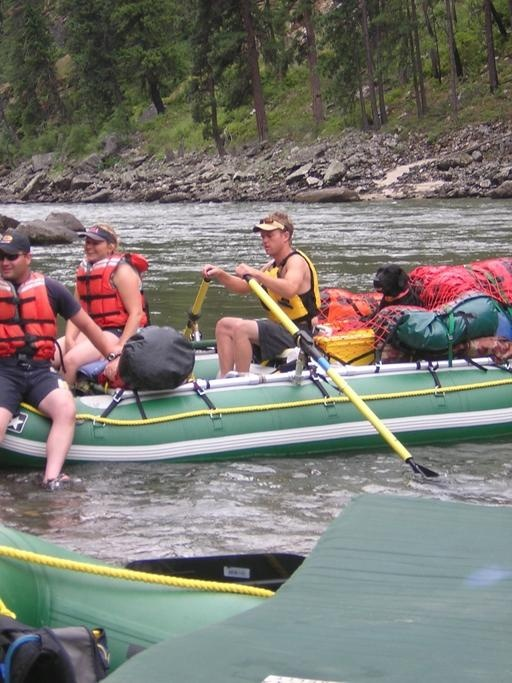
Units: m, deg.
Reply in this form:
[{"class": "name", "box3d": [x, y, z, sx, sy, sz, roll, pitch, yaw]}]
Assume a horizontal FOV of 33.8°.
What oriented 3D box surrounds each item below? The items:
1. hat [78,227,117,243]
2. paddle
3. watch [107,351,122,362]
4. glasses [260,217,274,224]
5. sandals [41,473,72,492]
[{"class": "hat", "box3d": [-0.949, -0.637, 5.045, 0.129, 0.061, 0.195, 12, 0, 37]}, {"class": "paddle", "box3d": [0.487, 0.233, 4.779, 0.102, 1.524, 0.213, -29, -24, -41]}, {"class": "watch", "box3d": [-0.757, 0.082, 4.498, 0.061, 0.022, 0.065, -27, 11, -21]}, {"class": "glasses", "box3d": [0.059, -0.750, 5.159, 0.079, 0.043, 0.126, -7, 5, 1]}, {"class": "sandals", "box3d": [-0.937, 0.663, 3.994, 0.153, 0.060, 0.129, -13, 10, -28]}]
